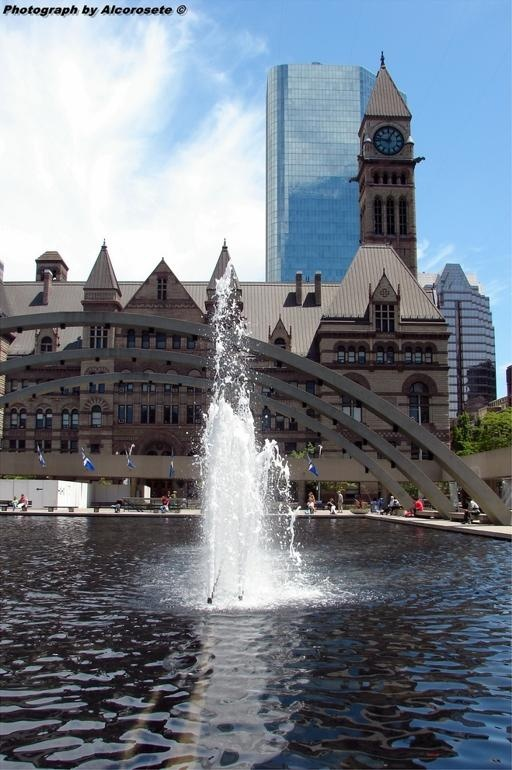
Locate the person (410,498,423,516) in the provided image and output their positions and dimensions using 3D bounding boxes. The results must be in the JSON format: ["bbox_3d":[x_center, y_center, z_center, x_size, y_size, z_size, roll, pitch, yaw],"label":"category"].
[{"bbox_3d":[8.785,6.610,38.959,0.536,0.795,0.840,3,-7,-24],"label":"person"}]

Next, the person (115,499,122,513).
[{"bbox_3d":[-8.607,7.573,45.506,0.534,0.959,0.542,0,-14,3],"label":"person"}]

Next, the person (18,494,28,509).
[{"bbox_3d":[-13.289,6.722,41.637,0.727,0.764,0.531,-15,-19,36],"label":"person"}]

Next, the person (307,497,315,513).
[{"bbox_3d":[3.463,7.410,44.682,0.620,0.832,1.329,-1,-21,3],"label":"person"}]
